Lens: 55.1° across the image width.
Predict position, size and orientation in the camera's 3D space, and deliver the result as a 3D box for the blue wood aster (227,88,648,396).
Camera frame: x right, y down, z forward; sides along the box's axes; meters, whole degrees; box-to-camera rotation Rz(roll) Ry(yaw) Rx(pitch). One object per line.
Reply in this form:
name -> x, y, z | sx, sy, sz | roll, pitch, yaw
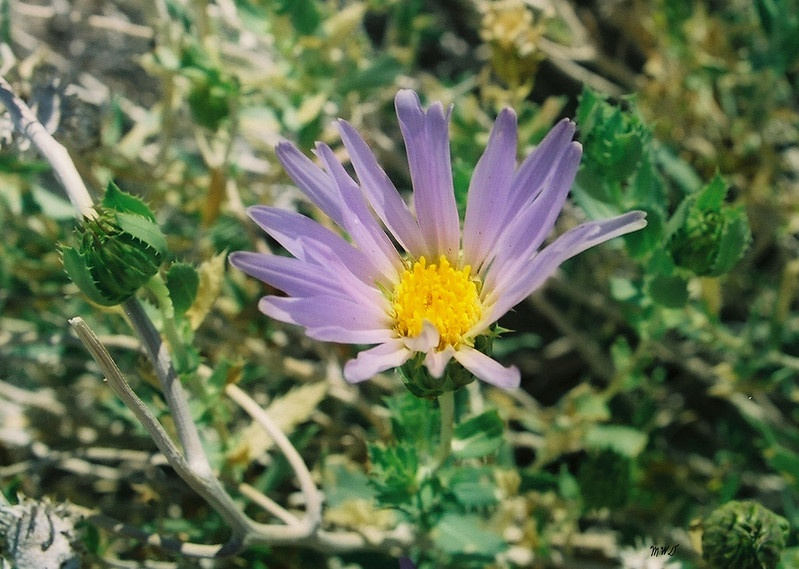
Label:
blue wood aster -> 0.052, -0.113, 1.397 | 0.592, 0.258, 0.611 | 40, 87, 3
